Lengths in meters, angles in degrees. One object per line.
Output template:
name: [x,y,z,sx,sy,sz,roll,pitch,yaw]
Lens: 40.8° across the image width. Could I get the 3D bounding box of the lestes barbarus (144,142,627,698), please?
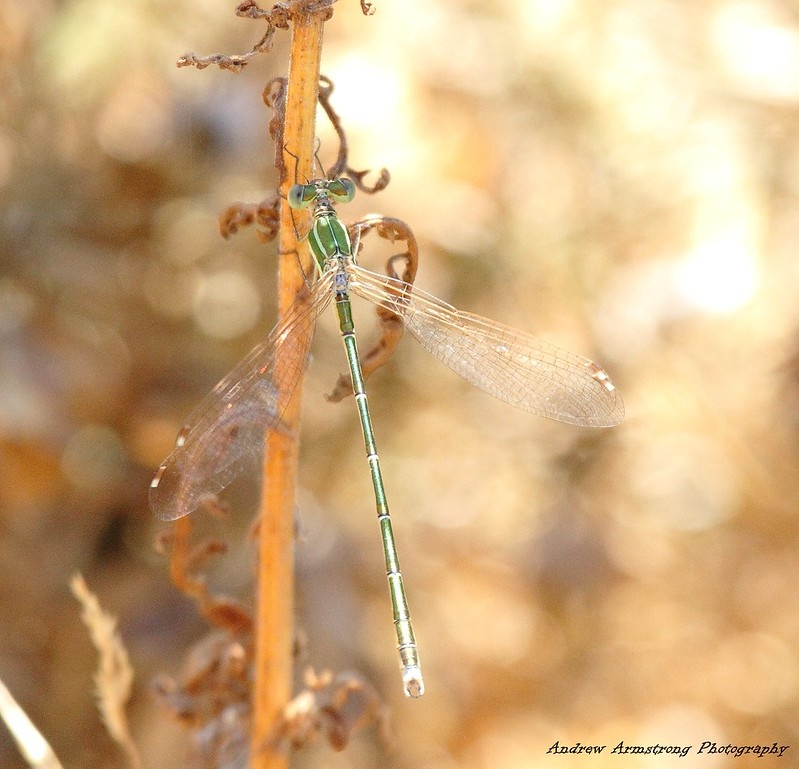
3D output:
lestes barbarus: [-0.015,0.032,0.791,0.384,0.375,0.107,7,-21,-32]
